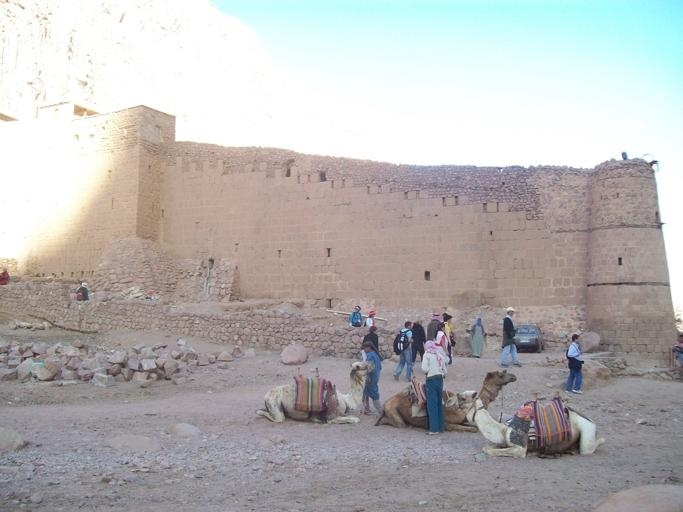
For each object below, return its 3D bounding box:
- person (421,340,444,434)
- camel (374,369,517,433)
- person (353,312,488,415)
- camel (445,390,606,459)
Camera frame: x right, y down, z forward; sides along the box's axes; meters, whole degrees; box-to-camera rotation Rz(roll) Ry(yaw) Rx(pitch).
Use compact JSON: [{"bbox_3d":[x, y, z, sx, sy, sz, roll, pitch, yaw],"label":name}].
[{"bbox_3d":[1.727,2.450,12.015,0.391,1.700,0.517,-1,-7,7],"label":"person"},{"bbox_3d":[1.876,2.863,12.747,3.875,1.266,0.975,-3,-5,15],"label":"camel"},{"bbox_3d":[1.834,1.990,12.445,0.850,2.052,1.068,1,-1,-42],"label":"person"},{"bbox_3d":[3.402,2.892,11.715,2.611,0.947,2.357,-4,-3,25],"label":"camel"}]
